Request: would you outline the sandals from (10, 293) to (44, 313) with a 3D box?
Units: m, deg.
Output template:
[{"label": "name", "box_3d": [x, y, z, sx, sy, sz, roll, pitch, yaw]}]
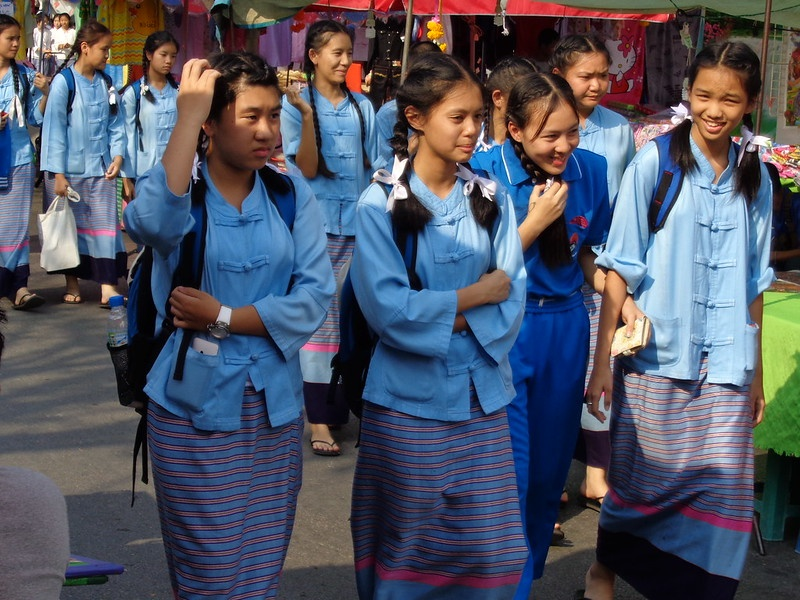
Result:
[{"label": "sandals", "box_3d": [-4.027, 0.036, 7.736, 0.319, 0.188, 0.289, -3, 15, -22]}]

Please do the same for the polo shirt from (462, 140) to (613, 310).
[{"label": "polo shirt", "box_3d": [0.568, -0.316, 2.994, 0.734, 0.717, 0.373, -3, 5, -27]}]

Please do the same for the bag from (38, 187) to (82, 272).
[{"label": "bag", "box_3d": [-3.808, -0.838, 7.892, 0.480, 0.963, 0.438, 9, 34, -13]}]

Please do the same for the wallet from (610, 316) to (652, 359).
[{"label": "wallet", "box_3d": [0.953, 0.148, 2.950, 0.041, 0.171, 0.158, 34, -29, -30]}]

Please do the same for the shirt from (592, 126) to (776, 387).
[{"label": "shirt", "box_3d": [1.252, -0.170, 3.081, 0.764, 1.029, 0.422, 4, 14, 10]}]

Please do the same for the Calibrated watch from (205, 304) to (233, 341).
[{"label": "Calibrated watch", "box_3d": [-0.593, 0.089, 2.394, 0.071, 0.114, 0.112, 14, 47, -7]}]

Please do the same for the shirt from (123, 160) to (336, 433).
[{"label": "shirt", "box_3d": [-0.640, -0.041, 2.554, 0.795, 0.907, 0.478, -3, 9, -39]}]

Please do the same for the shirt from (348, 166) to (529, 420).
[{"label": "shirt", "box_3d": [0.156, -0.017, 2.763, 0.705, 0.919, 0.487, -7, 19, -21]}]

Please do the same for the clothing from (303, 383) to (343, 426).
[{"label": "clothing", "box_3d": [-0.533, 0.760, 5.217, 0.288, 0.385, 0.210, -3, 23, -10]}]

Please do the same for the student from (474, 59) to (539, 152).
[{"label": "student", "box_3d": [0.535, -0.963, 3.638, 0.284, 0.536, 0.275, -1, 29, 2]}]

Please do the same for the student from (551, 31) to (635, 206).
[{"label": "student", "box_3d": [1.100, -0.975, 4.317, 0.651, 1.162, 0.375, -7, 18, -12]}]
